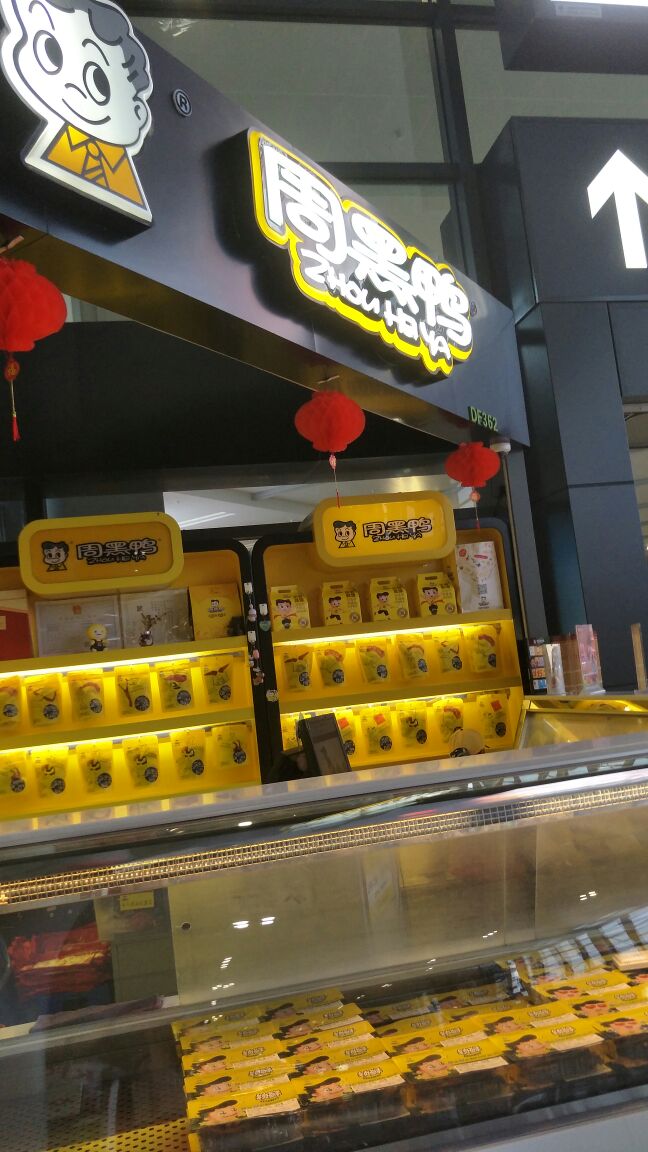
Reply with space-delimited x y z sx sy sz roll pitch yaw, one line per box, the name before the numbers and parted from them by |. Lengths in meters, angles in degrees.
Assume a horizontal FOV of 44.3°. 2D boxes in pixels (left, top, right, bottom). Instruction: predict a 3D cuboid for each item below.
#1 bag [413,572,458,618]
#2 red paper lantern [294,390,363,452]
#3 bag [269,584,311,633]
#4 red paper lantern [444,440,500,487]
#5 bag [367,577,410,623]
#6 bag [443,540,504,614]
bag | 0.591 0.106 4.253 0.190 0.297 0.101 -1 -28 -4
red paper lantern | 0.022 -0.609 3.061 0.191 0.240 0.196 -1 -5 -38
bag | -0.182 0.166 3.995 0.175 0.273 0.084 5 -34 -21
red paper lantern | 0.750 -0.552 4.006 0.247 0.268 0.242 -4 2 -2
bag | 0.327 0.127 4.183 0.188 0.280 0.097 0 -29 -8
bag | 0.833 -0.008 4.330 0.289 0.386 0.394 1 -19 -22
